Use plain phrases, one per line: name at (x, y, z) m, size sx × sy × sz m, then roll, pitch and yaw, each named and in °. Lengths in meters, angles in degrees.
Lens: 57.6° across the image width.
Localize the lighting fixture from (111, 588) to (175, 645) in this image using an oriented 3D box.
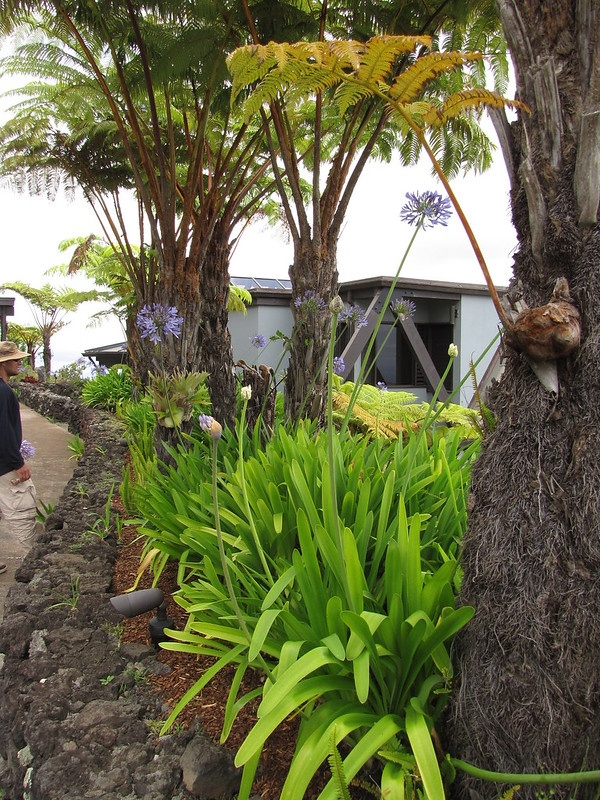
lighting fixture at (-0.600, 0.812, 2.103) m, size 0.199 × 0.227 × 0.350 m, roll -6°, pitch 7°, yaw -16°
